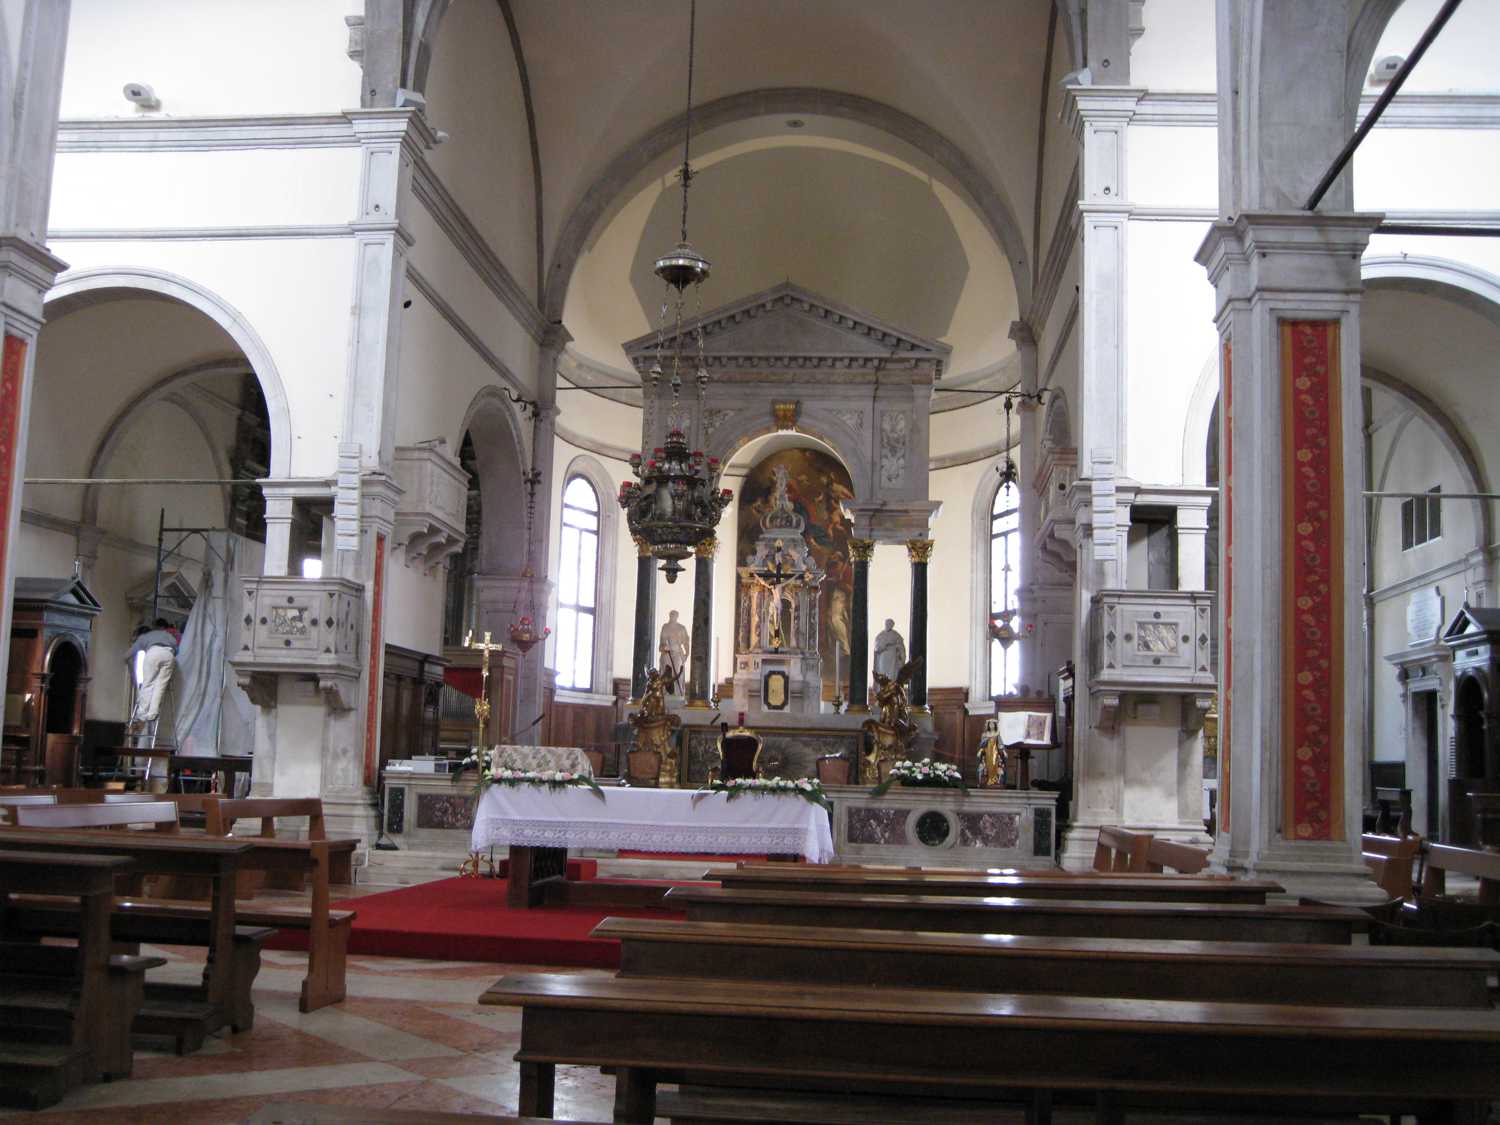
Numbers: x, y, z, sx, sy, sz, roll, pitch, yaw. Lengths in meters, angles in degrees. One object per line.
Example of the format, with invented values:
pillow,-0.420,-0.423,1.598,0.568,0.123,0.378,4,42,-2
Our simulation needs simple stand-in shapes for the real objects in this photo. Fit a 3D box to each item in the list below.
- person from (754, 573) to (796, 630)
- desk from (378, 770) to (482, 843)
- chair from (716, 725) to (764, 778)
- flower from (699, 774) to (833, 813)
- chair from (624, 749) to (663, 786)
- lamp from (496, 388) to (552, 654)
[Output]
person,0.307,0.545,19.426,0.558,0.689,0.915,1,-10,1
desk,-2.618,2.062,12.899,0.906,0.662,0.524,3,4,6
chair,-0.087,1.452,11.529,0.323,0.477,0.391,1,-5,1
flower,0.115,1.600,10.601,0.827,0.207,0.628,2,-10,-1
chair,-0.841,1.603,11.878,0.254,0.248,0.208,2,-8,6
lamp,-2.623,-0.524,18.219,0.389,3.200,1.011,2,-10,-3
